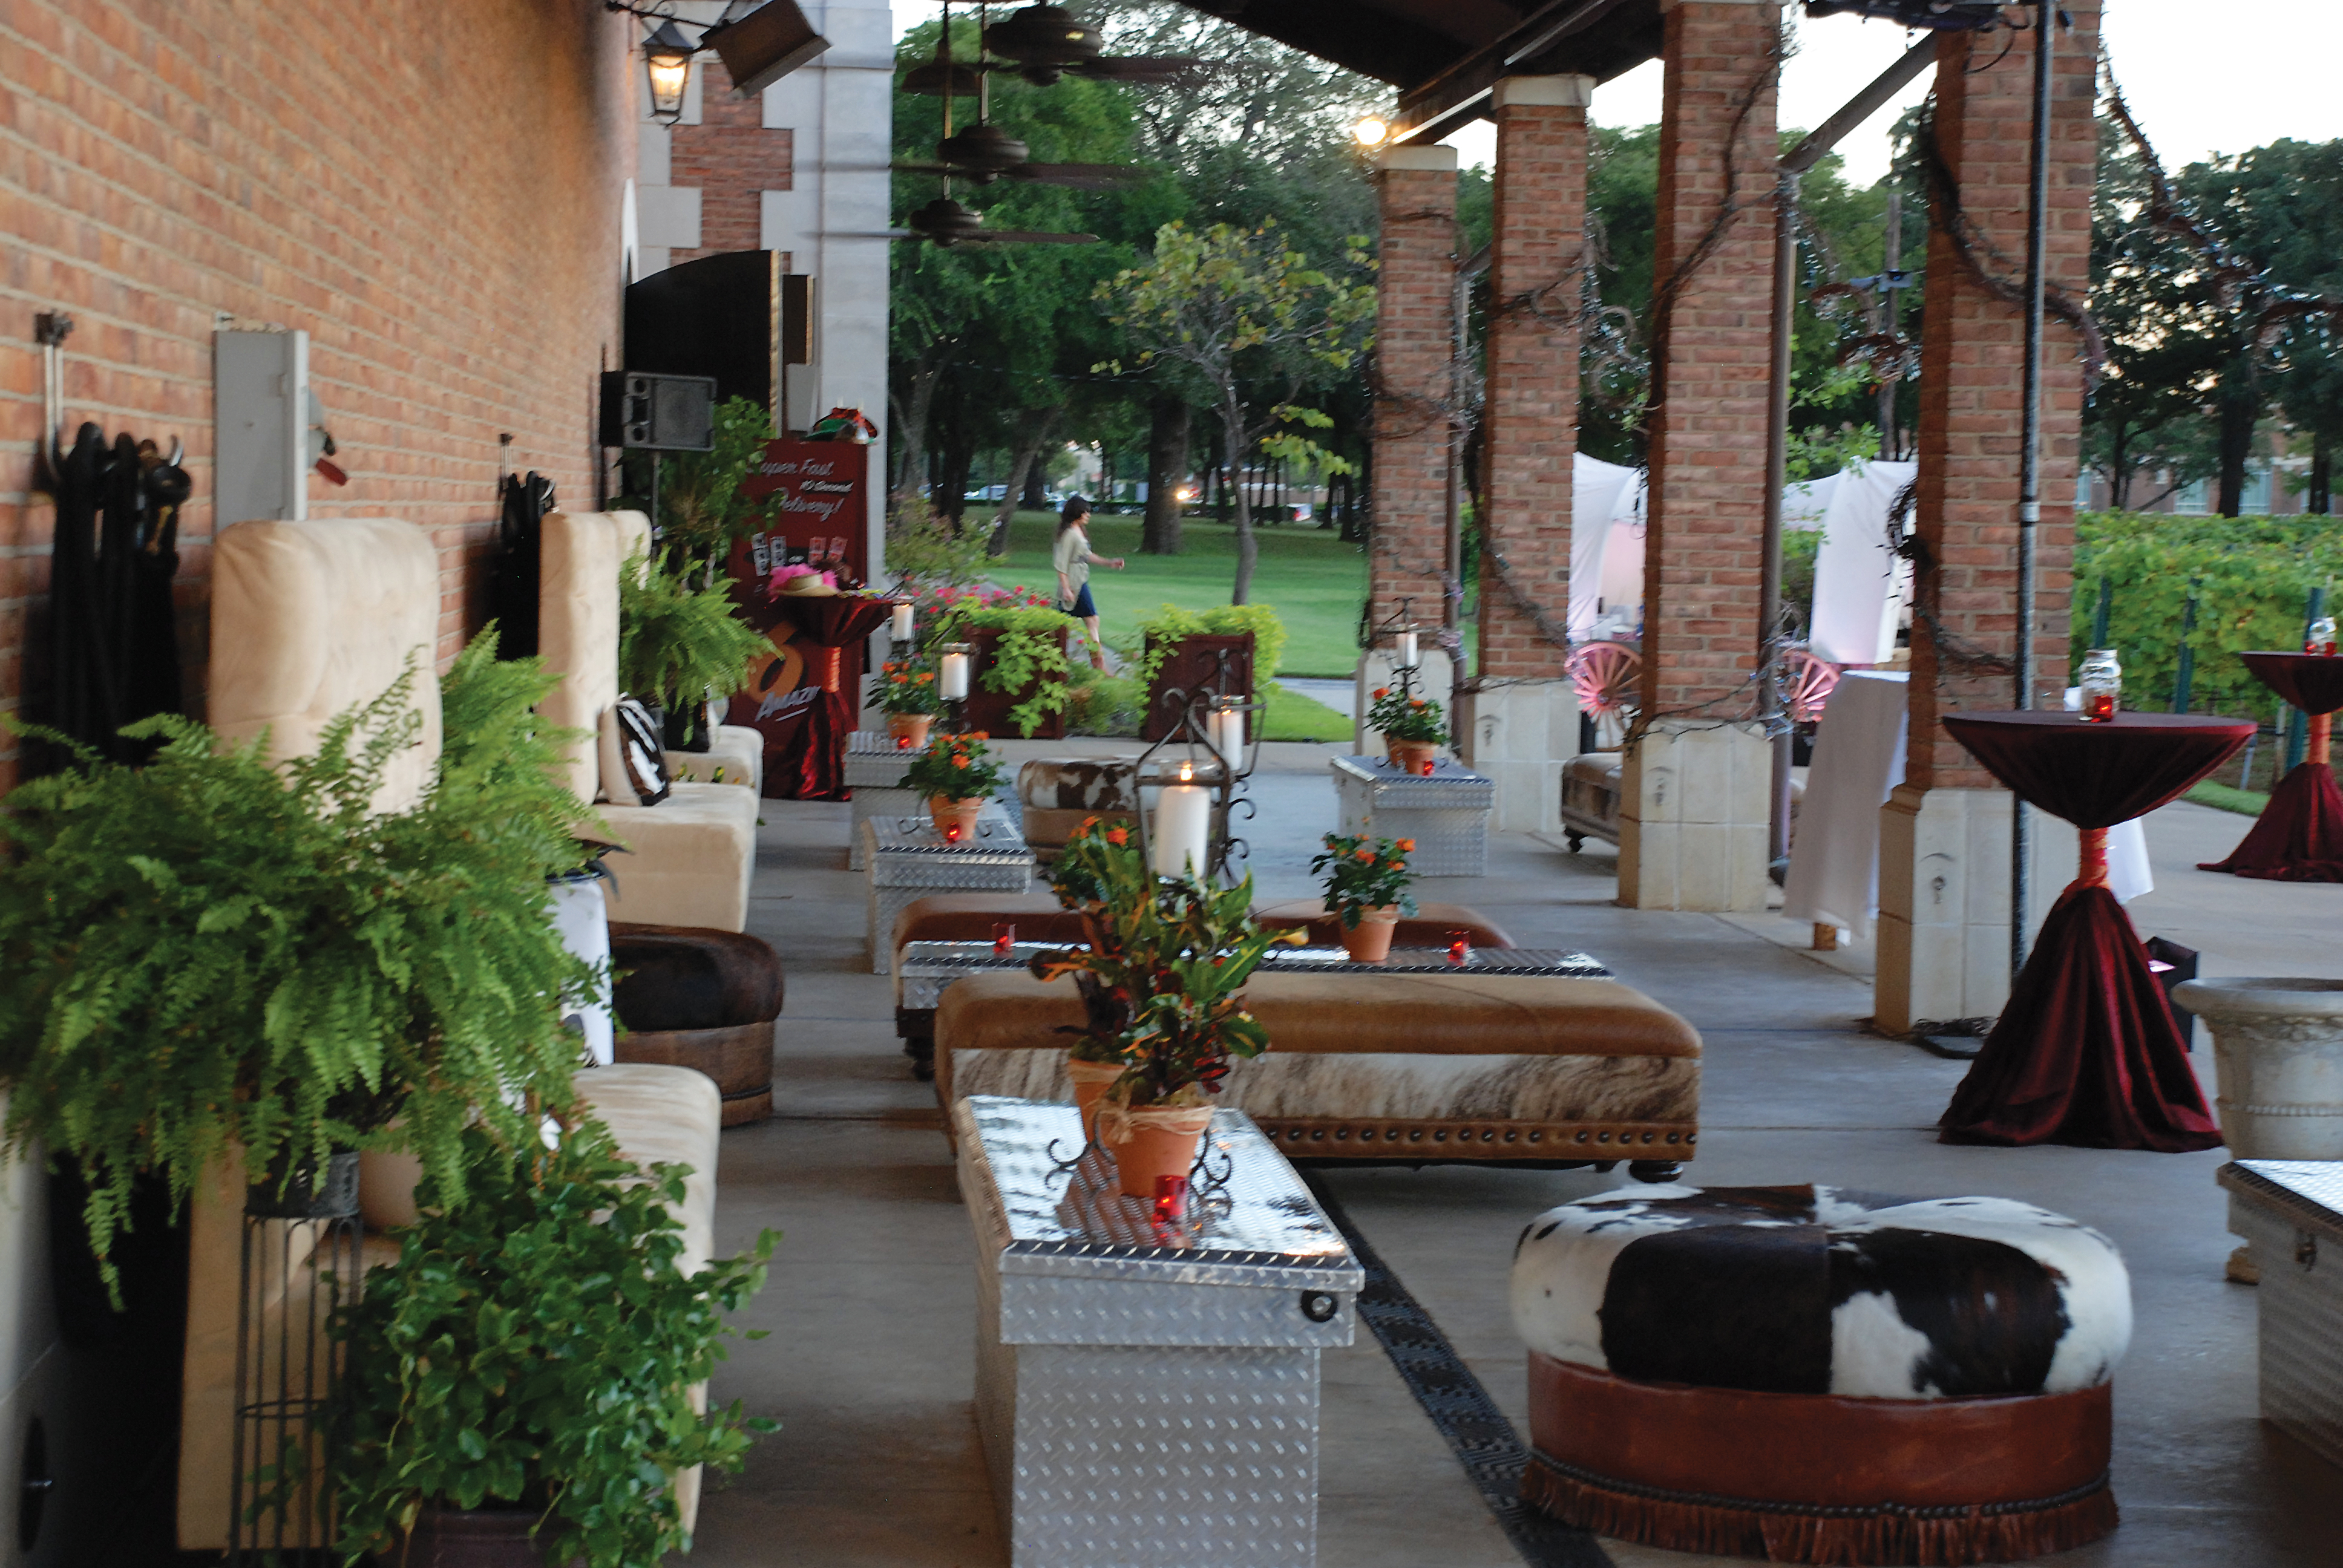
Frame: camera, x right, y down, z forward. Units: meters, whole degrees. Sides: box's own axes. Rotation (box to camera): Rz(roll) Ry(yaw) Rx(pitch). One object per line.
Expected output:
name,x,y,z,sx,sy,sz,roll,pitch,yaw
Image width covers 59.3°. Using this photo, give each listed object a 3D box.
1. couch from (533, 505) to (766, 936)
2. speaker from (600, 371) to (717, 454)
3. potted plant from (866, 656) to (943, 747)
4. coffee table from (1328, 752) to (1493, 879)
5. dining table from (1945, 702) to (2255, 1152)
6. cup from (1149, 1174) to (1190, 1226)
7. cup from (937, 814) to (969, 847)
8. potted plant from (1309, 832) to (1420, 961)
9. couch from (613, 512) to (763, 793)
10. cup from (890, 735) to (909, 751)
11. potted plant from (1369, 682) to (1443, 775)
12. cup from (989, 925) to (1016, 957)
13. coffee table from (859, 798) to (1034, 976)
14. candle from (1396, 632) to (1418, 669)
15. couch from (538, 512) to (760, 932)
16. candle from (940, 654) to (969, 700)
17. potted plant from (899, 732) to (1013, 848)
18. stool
couch,-2.414,-0.312,9.496,0.854,1.719,2.609,1,1,-9
speaker,-3.217,-2.357,12.736,0.491,0.594,0.861,3,5,34
potted plant,-1.519,-0.496,11.876,0.527,0.516,0.523,6,5,8
coffee table,1.344,0.152,11.342,0.574,0.469,0.990,1,2,-6
dining table,3.276,0.518,7.352,0.994,1.549,0.685,1,3,4
cup,0.008,0.912,4.510,0.085,0.092,0.074,7,-9,-18
cup,-0.988,0.200,9.291,0.096,0.061,0.110,-1,31,-2
potted plant,0.780,0.379,7.585,0.443,0.462,0.463,1,7,-10
couch,-2.868,-0.738,11.460,0.771,1.016,0.892,8,6,4
cup,-1.538,-0.249,11.707,0.115,0.101,0.089,0,6,9
potted plant,1.366,-0.317,11.466,0.458,0.435,0.473,3,2,-5
cup,-0.616,0.563,7.484,0.072,0.071,0.131,21,-9,0
coffee table,-1.036,0.426,9.274,0.796,0.550,0.749,0,2,-14
candle,1.278,-0.749,11.311,0.092,0.185,0.278,0,3,-6
couch,-2.410,-0.291,9.467,0.828,1.675,2.507,1,2,-8
candle,-1.169,-0.585,11.013,0.107,0.280,0.215,0,3,-18
potted plant,-0.989,0.018,9.544,0.492,0.485,0.488,2,-3,-4
stool,-1.666,0.843,7.325,0.704,0.569,0.735,-6,0,29
